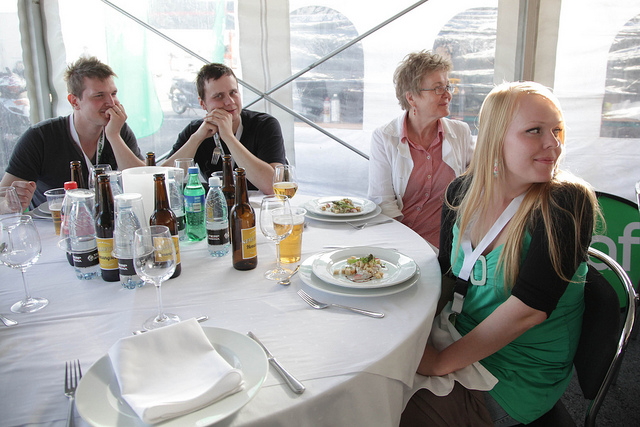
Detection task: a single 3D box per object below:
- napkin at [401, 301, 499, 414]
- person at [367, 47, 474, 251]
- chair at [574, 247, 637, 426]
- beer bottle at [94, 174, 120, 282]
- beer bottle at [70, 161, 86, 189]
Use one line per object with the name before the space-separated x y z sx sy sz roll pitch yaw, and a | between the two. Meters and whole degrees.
napkin | 0.434 0.546 1.598 0.303 0.350 0.253 0 14 -21
person | 0.658 -0.310 2.643 0.777 1.287 0.716 -2 6 -9
chair | 1.036 0.444 1.555 0.159 0.594 0.313 7 18 33
beer bottle | -0.751 0.055 1.550 0.094 0.369 0.094 -1 14 0
beer bottle | -1.107 -0.171 1.948 0.045 0.144 0.263 -11 16 -28
